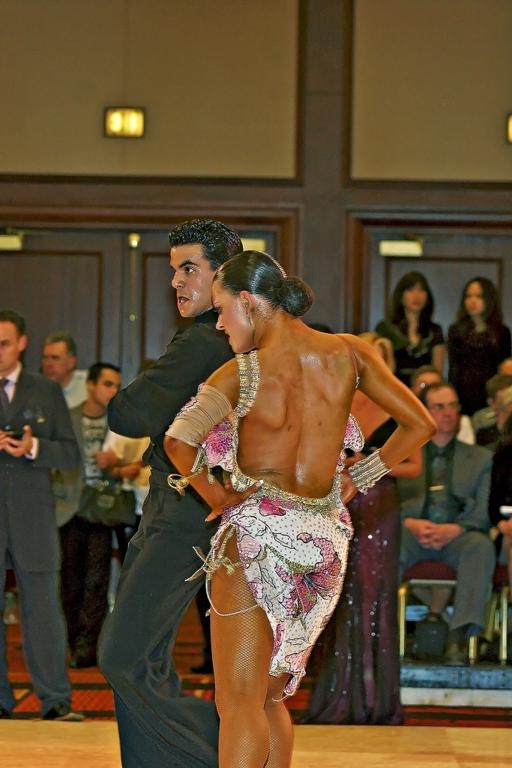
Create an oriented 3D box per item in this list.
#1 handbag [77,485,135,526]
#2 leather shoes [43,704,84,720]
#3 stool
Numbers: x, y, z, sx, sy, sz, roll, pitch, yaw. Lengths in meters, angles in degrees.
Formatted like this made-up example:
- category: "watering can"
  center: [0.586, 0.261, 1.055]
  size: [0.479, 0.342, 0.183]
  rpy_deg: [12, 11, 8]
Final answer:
- category: "handbag"
  center: [-0.772, 0.620, 4.067]
  size: [0.221, 0.197, 0.083]
  rpy_deg: [6, -2, -7]
- category: "leather shoes"
  center: [-0.759, 1.282, 3.147]
  size: [0.137, 0.051, 0.064]
  rpy_deg: [-2, -11, 8]
- category: "stool"
  center: [0.866, 1.101, 3.841]
  size: [0.632, 0.515, 0.466]
  rpy_deg: [-2, -24, 4]
